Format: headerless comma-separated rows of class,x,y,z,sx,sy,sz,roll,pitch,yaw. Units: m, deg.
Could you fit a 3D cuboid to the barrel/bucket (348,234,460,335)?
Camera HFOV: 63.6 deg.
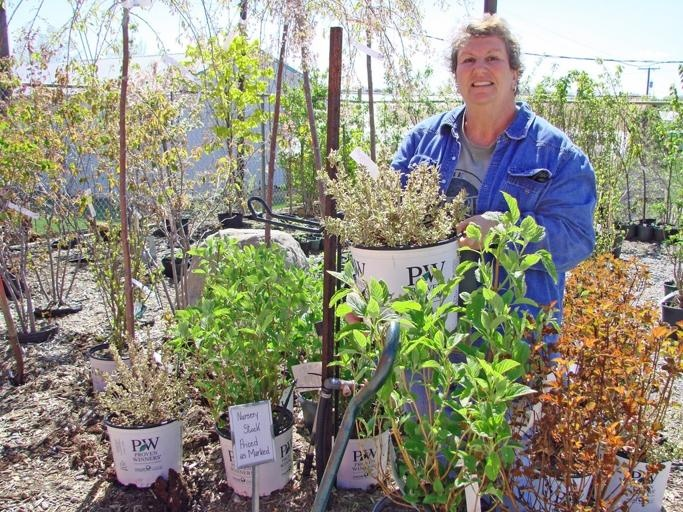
barrel/bucket,0.254,0.094,2.130,0.336,0.312,0.313,-1,4,0

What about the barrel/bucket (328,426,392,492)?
barrel/bucket,0.093,0.970,2.551,0.297,0.315,0.373,0,5,10

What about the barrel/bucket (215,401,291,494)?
barrel/bucket,-0.421,0.922,2.705,0.336,0.379,0.388,-3,12,-4

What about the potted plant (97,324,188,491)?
potted plant,-1.021,0.920,2.859,0.332,0.571,0.323,-31,-28,36

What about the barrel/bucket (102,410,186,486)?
barrel/bucket,-0.979,0.971,2.741,0.292,0.280,0.336,-1,-1,-7
